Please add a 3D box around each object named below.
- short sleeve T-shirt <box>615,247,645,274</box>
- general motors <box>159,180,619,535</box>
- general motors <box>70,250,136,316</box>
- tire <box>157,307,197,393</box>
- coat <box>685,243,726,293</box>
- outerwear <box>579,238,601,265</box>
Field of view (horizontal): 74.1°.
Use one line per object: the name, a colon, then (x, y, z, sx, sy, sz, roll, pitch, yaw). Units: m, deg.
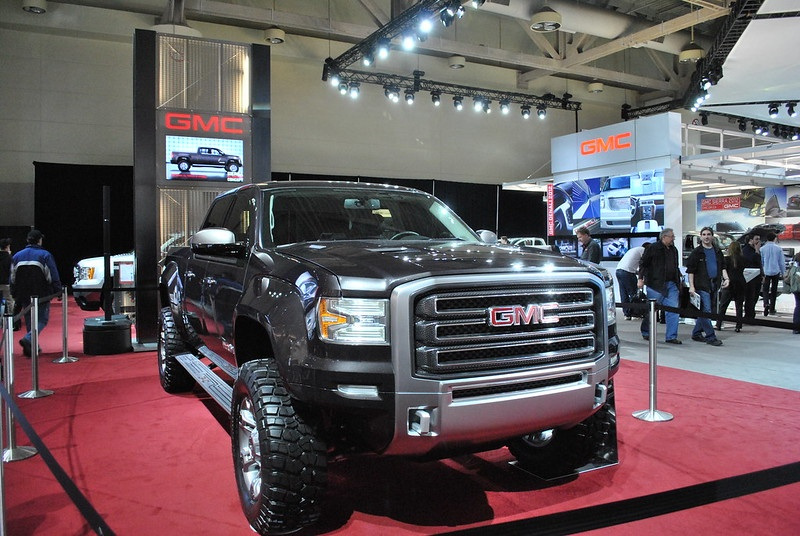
short sleeve T-shirt: (5.397, -0.197, 12.420, 0.396, 0.691, 0.525, 29, -4, -29)
general motors: (-0.613, 0.500, 5.430, 2.365, 1.968, 4.329, 0, -3, -23)
general motors: (-6.749, 0.283, 12.132, 1.668, 1.238, 2.846, 0, -1, -34)
tire: (-2.763, 1.010, 6.597, 0.391, 1.208, 1.200, 2, 4, -20)
coat: (6.218, -0.042, 10.628, 0.837, 0.805, 0.450, -7, 7, 18)
outerwear: (3.917, -0.366, 10.937, 0.335, 0.595, 0.695, 2, -2, 8)
